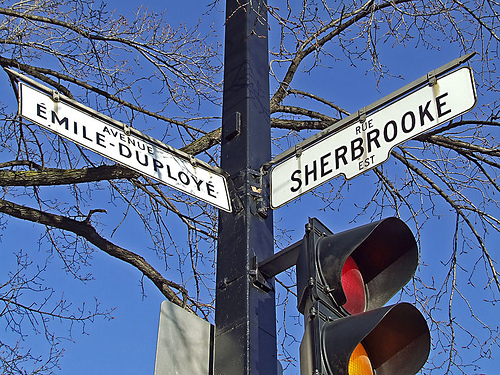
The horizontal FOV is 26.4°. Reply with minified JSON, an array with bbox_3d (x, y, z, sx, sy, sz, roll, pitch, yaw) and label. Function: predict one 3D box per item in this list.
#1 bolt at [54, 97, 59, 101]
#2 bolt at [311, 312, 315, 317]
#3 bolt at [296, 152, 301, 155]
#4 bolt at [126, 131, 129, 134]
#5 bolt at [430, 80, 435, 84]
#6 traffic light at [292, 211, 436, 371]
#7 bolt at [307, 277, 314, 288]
[{"bbox_3d":[-1.380,-0.634,7.617,0.030,0.015,0.019,39,-68,-21],"label":"bolt"},{"bbox_3d":[0.408,0.812,6.878,0.021,0.024,0.022,12,-41,-12],"label":"bolt"},{"bbox_3d":[0.363,-0.256,7.903,0.020,0.005,0.022,-3,-98,3],"label":"bolt"},{"bbox_3d":[-0.892,-0.402,7.797,0.020,0.016,0.013,10,-60,-8],"label":"bolt"},{"bbox_3d":[1.287,-0.742,7.519,0.019,0.017,0.027,-1,-60,-2],"label":"bolt"},{"bbox_3d":[0.733,0.709,7.056,0.864,1.095,0.861,-5,-59,1],"label":"traffic light"},{"bbox_3d":[0.402,0.614,6.970,0.026,0.064,0.066,1,-46,8],"label":"bolt"}]
